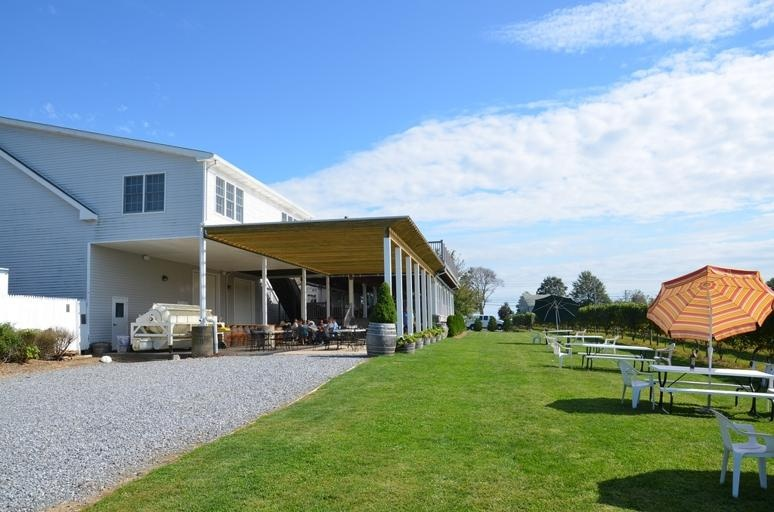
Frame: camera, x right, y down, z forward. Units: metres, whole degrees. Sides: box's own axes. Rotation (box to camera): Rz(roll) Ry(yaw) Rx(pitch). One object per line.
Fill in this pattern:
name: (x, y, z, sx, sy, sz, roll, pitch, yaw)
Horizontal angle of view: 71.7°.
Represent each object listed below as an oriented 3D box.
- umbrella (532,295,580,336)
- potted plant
umbrella: (9.318, 3.052, 29.638, 1.951, 2.146, 3.002, 2, 8, 12)
potted plant: (0.242, 2.235, 19.489, 1.490, 2.869, 3.981, 1, 8, 10)
